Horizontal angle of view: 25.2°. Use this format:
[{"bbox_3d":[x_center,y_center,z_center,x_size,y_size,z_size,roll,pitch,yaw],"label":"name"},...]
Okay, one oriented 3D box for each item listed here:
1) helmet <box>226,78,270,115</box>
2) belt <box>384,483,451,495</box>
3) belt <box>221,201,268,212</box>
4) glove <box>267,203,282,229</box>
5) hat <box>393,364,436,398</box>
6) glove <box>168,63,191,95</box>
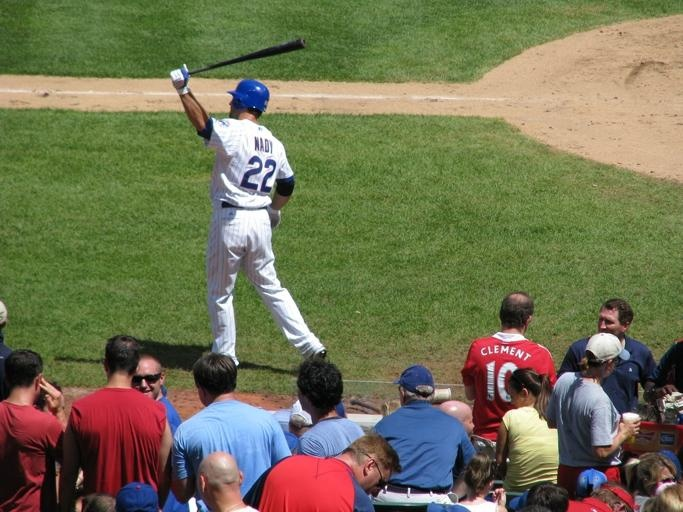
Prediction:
[{"bbox_3d":[-1.587,-2.748,25.987,0.677,0.513,0.498,19,14,5],"label":"helmet"},{"bbox_3d":[1.111,3.470,22.798,0.930,0.133,0.107,0,4,-3],"label":"belt"},{"bbox_3d":[-1.673,-0.845,25.637,0.715,0.135,0.168,-1,5,-25],"label":"belt"},{"bbox_3d":[-1.178,-0.703,26.520,0.287,0.300,0.368,-1,4,2],"label":"glove"},{"bbox_3d":[1.107,1.870,23.112,0.387,0.317,0.547,2,16,-22],"label":"hat"},{"bbox_3d":[-2.695,-2.902,25.436,0.461,0.613,0.228,5,0,-2],"label":"glove"}]
